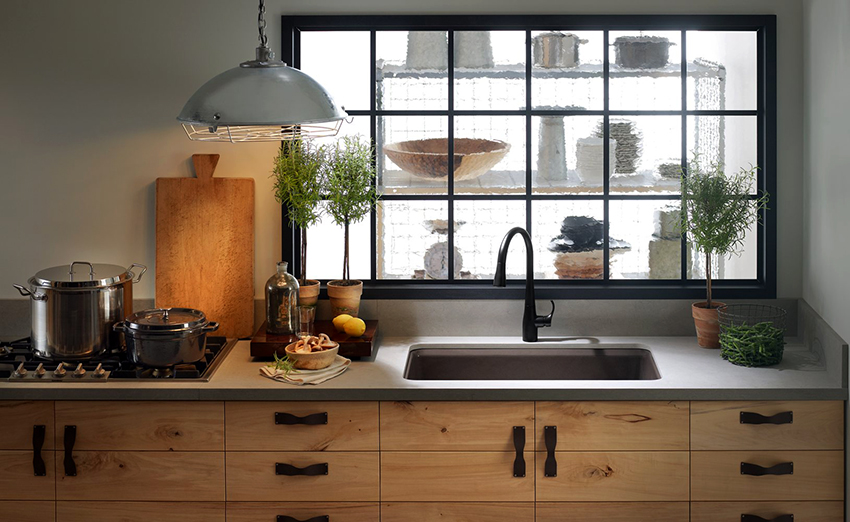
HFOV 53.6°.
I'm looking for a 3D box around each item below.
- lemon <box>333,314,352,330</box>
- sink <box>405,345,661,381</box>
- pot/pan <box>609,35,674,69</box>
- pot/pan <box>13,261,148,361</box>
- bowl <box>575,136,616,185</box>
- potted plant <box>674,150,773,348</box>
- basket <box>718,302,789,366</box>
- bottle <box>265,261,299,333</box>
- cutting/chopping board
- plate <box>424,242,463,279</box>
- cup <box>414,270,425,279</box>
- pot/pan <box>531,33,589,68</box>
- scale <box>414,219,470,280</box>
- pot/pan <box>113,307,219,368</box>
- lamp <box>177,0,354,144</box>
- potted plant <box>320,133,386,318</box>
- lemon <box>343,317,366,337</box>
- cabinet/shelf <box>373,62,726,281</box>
[{"bbox_3d":[-0.443,0.335,4.593,0.107,0.069,0.074,-1,7,2],"label":"lemon"},{"bbox_3d":[0.569,0.567,4.711,1.321,0.196,0.082,0,5,3],"label":"sink"},{"bbox_3d":[1.275,-1.238,5.059,0.264,0.100,0.239,-2,7,-5],"label":"pot/pan"},{"bbox_3d":[-1.900,0.269,4.624,0.610,0.412,0.520,1,3,9],"label":"pot/pan"},{"bbox_3d":[1.030,-0.614,5.134,0.313,0.283,0.291,1,5,0],"label":"bowl"},{"bbox_3d":[1.666,-0.055,4.755,0.441,1.045,0.551,3,6,32],"label":"potted plant"},{"bbox_3d":[1.736,0.408,4.588,0.388,0.257,0.391,2,-3,-45],"label":"basket"},{"bbox_3d":[-0.770,0.203,4.548,0.175,0.381,0.127,-1,5,-8],"label":"bottle"},{"bbox_3d":[-1.230,-0.109,4.795,0.648,0.979,0.111,1,3,20],"label":"cutting/chopping board"},{"bbox_3d":[0.083,0.005,5.112,0.257,0.211,0.052,1,-5,0],"label":"plate"},{"bbox_3d":[-0.035,0.087,5.177,0.061,0.037,0.056,0,5,0],"label":"cup"},{"bbox_3d":[0.840,-1.300,5.181,0.357,0.155,0.239,-10,21,-18],"label":"pot/pan"},{"bbox_3d":[0.128,-0.082,5.182,0.373,0.381,0.343,2,7,26],"label":"scale"},{"bbox_3d":[-1.375,0.390,4.479,0.506,0.233,0.407,9,14,35],"label":"pot/pan"},{"bbox_3d":[-0.754,-0.934,4.114,0.752,0.701,0.754,0,5,-1],"label":"lamp"},{"bbox_3d":[-0.419,-0.202,4.792,0.316,0.997,0.349,0,5,-5],"label":"potted plant"},{"bbox_3d":[-0.379,0.361,4.531,0.121,0.078,0.081,0,2,-3],"label":"lemon"},{"bbox_3d":[0.812,-0.579,5.073,1.615,1.241,0.509,0,1,0],"label":"cabinet/shelf"}]
